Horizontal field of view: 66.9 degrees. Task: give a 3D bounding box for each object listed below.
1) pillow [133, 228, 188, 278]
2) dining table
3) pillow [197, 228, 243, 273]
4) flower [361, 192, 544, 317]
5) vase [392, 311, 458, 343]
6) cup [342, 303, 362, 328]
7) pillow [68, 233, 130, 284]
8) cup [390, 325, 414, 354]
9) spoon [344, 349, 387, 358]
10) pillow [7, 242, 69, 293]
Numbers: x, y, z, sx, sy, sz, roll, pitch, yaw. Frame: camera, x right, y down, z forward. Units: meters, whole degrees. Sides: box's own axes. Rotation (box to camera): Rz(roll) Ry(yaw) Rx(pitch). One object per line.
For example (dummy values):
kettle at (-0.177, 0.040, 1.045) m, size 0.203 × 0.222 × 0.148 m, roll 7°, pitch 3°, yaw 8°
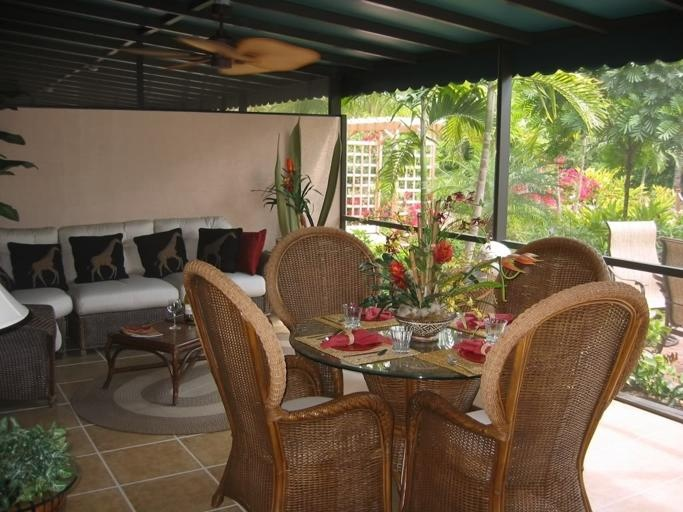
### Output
pillow at (-1.918, -0.023, 5.489) m, size 0.663 × 0.535 × 0.186 m, roll -13°, pitch -4°, yaw -32°
dining table at (0.319, 0.705, 2.406) m, size 0.959 × 0.526 × 0.884 m, roll -5°, pitch 12°, yaw -24°
pillow at (-1.207, -0.054, 5.195) m, size 0.532 × 0.467 × 0.185 m, roll 1°, pitch -16°, yaw 3°
flower at (0.487, -0.010, 2.514) m, size 0.662 × 0.590 × 0.960 m, roll -8°, pitch 10°, yaw -40°
vase at (0.375, 0.319, 2.346) m, size 0.190 × 0.062 × 0.175 m, roll -2°, pitch 3°, yaw -23°
cup at (0.039, 0.291, 2.552) m, size 0.118 × 0.104 × 0.113 m, roll 0°, pitch 3°, yaw 0°
pillow at (-2.473, 0.030, 5.203) m, size 0.548 × 0.443 × 0.187 m, roll -5°, pitch -13°, yaw -25°
cup at (0.250, 0.355, 2.239) m, size 0.117 × 0.090 × 0.108 m, roll -2°, pitch 9°, yaw 0°
spoon at (0.104, 0.411, 2.185) m, size 0.199 × 0.018 × 0.055 m, roll -3°, pitch 10°, yaw -29°
pillow at (-2.891, 0.093, 4.912) m, size 0.433 × 0.442 × 0.300 m, roll -5°, pitch 13°, yaw -29°
